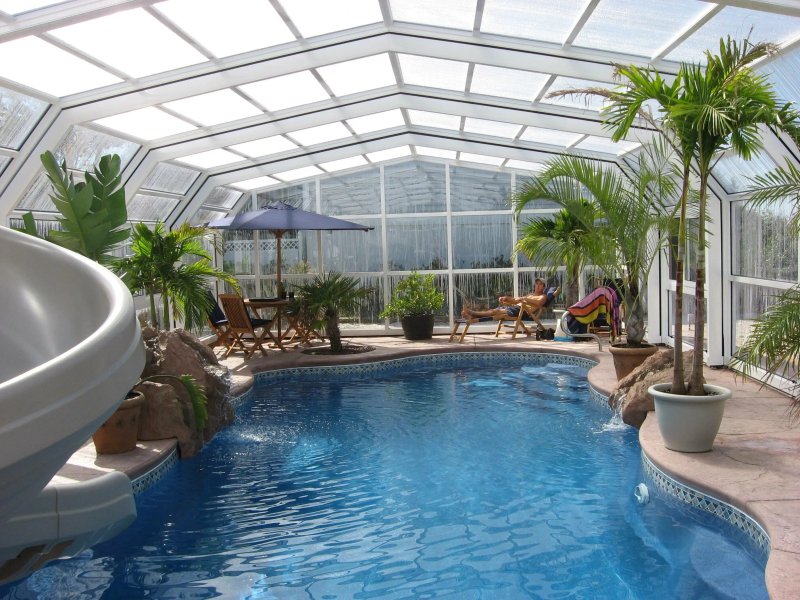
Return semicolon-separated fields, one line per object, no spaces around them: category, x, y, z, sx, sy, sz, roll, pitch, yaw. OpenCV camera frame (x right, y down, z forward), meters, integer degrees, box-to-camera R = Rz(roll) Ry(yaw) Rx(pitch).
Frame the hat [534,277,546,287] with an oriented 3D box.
hat;3.270;-0.429;11.968;0.256;0.189;0.370;2;-21;29

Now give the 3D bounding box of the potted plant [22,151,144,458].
potted plant;-3.546;-0.205;5.783;0.956;3.317;2.702;-4;4;-28

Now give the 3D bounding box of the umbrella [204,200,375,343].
umbrella;-2.624;-0.858;11.870;3.416;2.927;3.305;-1;1;-13

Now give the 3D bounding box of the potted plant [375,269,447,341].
potted plant;0.374;0.125;12.702;1.286;1.621;1.270;-2;3;3

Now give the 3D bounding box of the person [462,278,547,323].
person;2.552;0.012;12.154;1.895;1.085;1.041;0;0;-10

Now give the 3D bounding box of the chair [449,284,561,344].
chair;2.346;0.295;12.324;3.196;1.665;1.238;0;1;-14
